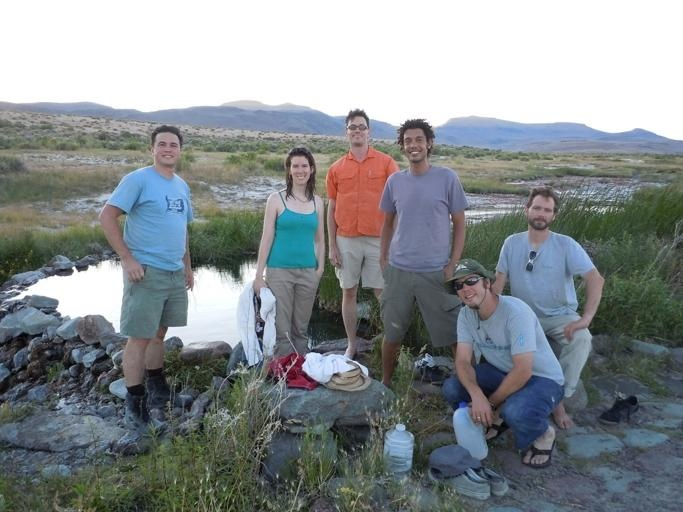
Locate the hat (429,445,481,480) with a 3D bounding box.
[{"bbox_3d":[1.060,1.956,4.576,0.378,0.154,0.264,-1,27,17],"label":"hat"}]

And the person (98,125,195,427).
[{"bbox_3d":[-2.187,0.209,5.506,0.878,3.335,1.058,-1,14,-15],"label":"person"}]

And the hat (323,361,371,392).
[{"bbox_3d":[0.093,1.267,4.971,0.528,0.243,0.217,-9,18,-40],"label":"hat"}]

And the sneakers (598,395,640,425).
[{"bbox_3d":[3.159,1.737,5.486,0.559,0.241,0.221,-19,19,-27],"label":"sneakers"}]

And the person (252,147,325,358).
[{"bbox_3d":[-0.613,0.046,5.940,0.933,2.715,0.679,-2,14,-18],"label":"person"}]

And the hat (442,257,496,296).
[{"bbox_3d":[1.281,0.168,4.878,0.358,0.213,0.372,-5,-24,-37],"label":"hat"}]

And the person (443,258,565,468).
[{"bbox_3d":[1.706,1.032,5.141,1.154,1.988,1.048,-2,8,45],"label":"person"}]

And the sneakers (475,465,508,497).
[{"bbox_3d":[1.400,2.070,4.540,0.130,0.151,0.355,-10,29,-26],"label":"sneakers"}]

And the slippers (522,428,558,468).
[{"bbox_3d":[2.021,1.947,4.823,0.095,0.418,0.210,37,-15,-31],"label":"slippers"}]

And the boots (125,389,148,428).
[{"bbox_3d":[-2.332,1.751,5.592,0.199,0.455,0.440,0,2,-22],"label":"boots"}]
